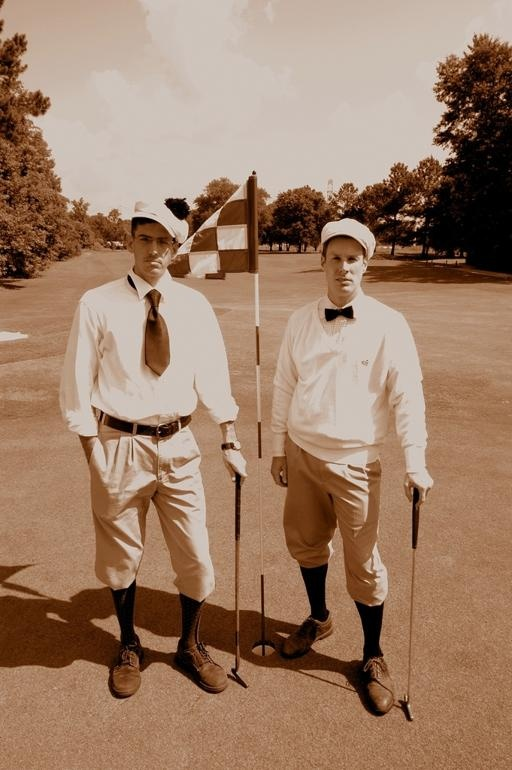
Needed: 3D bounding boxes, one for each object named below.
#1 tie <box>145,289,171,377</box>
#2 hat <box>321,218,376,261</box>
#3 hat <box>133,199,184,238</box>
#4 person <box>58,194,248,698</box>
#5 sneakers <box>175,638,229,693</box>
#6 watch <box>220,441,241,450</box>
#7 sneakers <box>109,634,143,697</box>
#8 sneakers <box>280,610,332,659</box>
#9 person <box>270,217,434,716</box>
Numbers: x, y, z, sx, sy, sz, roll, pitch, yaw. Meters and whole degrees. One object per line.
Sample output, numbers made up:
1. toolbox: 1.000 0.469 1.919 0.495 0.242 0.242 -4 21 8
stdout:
1. tie: -0.441 -0.230 3.166 0.112 0.370 0.143 -5 15 -16
2. hat: 0.435 -0.638 3.306 0.186 0.126 0.241 14 -9 12
3. hat: -0.437 -0.711 3.181 0.199 0.179 0.326 2 13 10
4. person: -0.439 0.280 3.237 0.810 2.122 0.556 -4 15 -15
5. sneakers: -0.258 1.286 3.343 0.125 0.114 0.283 1 7 -42
6. watch: -0.130 0.290 3.422 0.067 0.037 0.065 -3 -7 -28
7. sneakers: -0.592 1.284 3.355 0.139 0.118 0.369 6 8 -5
8. sneakers: 0.241 1.239 3.622 0.108 0.121 0.313 7 14 43
9. person: 0.417 0.462 3.375 0.565 1.716 0.967 -13 18 -39
